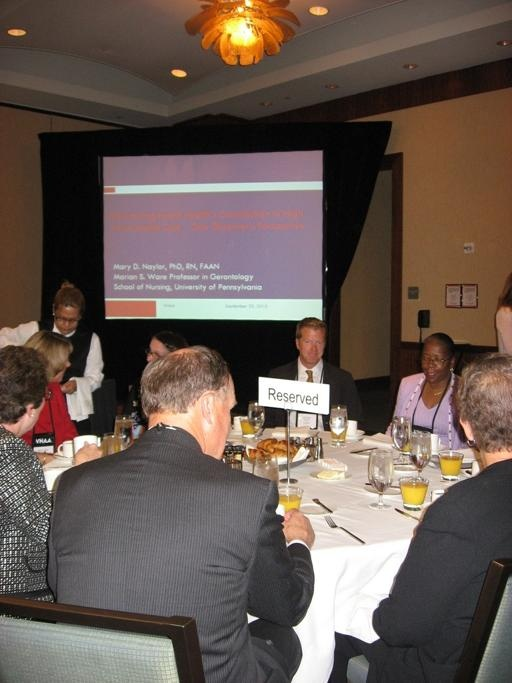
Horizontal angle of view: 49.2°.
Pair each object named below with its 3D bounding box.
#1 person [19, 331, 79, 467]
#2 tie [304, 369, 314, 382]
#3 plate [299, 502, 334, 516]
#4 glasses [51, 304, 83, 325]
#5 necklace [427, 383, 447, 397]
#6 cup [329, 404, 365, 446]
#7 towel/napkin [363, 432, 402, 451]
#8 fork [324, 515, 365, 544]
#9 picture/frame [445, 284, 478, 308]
[{"bbox_3d":[-0.993,0.383,2.886,0.273,0.859,0.232,-2,26,-9],"label":"person"},{"bbox_3d":[0.292,0.196,3.025,0.060,0.081,0.064,-3,-10,7],"label":"tie"},{"bbox_3d":[0.179,0.500,1.662,0.079,0.008,0.079,0,5,-6],"label":"plate"},{"bbox_3d":[-1.273,-0.181,3.819,0.126,0.146,0.150,2,-2,-29],"label":"glasses"},{"bbox_3d":[0.912,0.249,2.810,0.056,0.072,0.031,2,40,13],"label":"necklace"},{"bbox_3d":[0.370,0.364,2.443,0.131,0.197,0.198,0,4,7],"label":"cup"},{"bbox_3d":[0.539,0.432,2.380,0.101,0.029,0.112,-2,1,-41],"label":"towel/napkin"},{"bbox_3d":[0.233,0.508,1.524,0.026,0.027,0.188,-1,11,-21],"label":"fork"},{"bbox_3d":[1.904,-0.416,5.148,0.016,0.198,0.238,-2,3,-39],"label":"picture/frame"}]
